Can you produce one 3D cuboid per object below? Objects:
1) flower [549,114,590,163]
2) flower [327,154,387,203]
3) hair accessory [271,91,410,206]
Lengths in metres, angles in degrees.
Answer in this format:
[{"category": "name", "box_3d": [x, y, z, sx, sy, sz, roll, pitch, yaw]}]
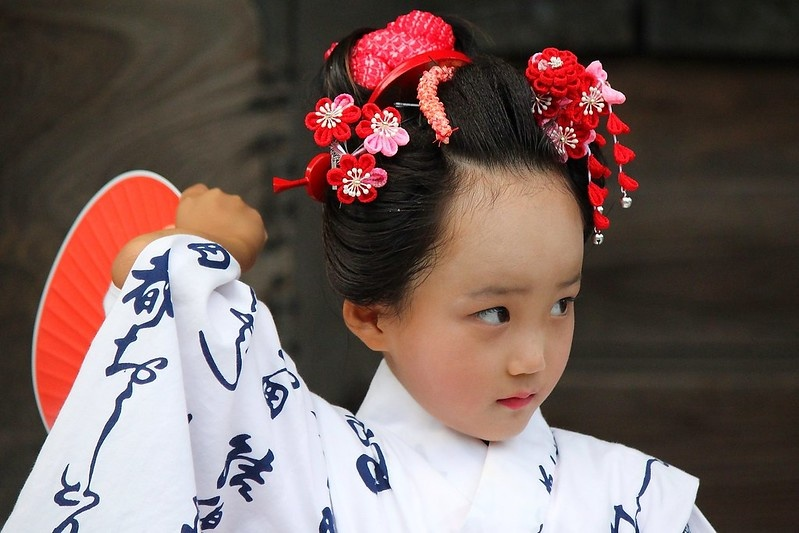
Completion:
[{"category": "flower", "box_3d": [0.361, -0.299, 2.826, 0.095, 0.097, 0.024, -43, 12, -13]}, {"category": "flower", "box_3d": [-0.089, -0.192, 2.771, 0.116, 0.123, 0.070, 10, 25, 20]}, {"category": "hair accessory", "box_3d": [-0.103, -0.258, 2.763, 0.311, 0.221, 0.098, -15, -14, 11]}]
